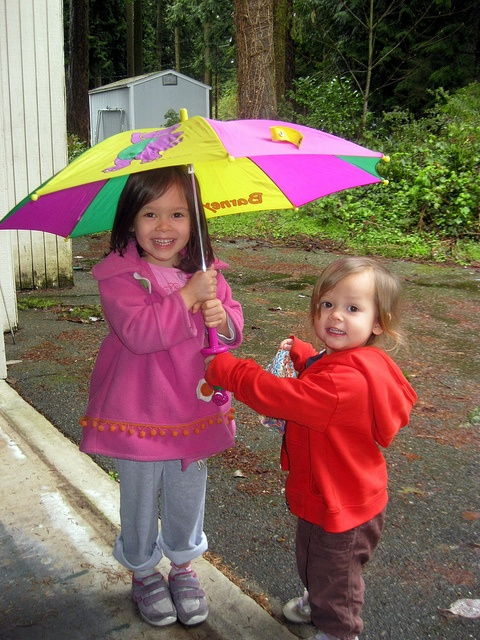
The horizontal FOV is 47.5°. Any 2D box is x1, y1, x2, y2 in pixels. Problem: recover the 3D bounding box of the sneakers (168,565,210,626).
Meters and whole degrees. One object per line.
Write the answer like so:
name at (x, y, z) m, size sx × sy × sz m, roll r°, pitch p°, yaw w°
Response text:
sneakers at (-0.171, 0.884, 1.755) m, size 0.074 × 0.074 × 0.206 m, roll -2°, pitch 3°, yaw -21°
